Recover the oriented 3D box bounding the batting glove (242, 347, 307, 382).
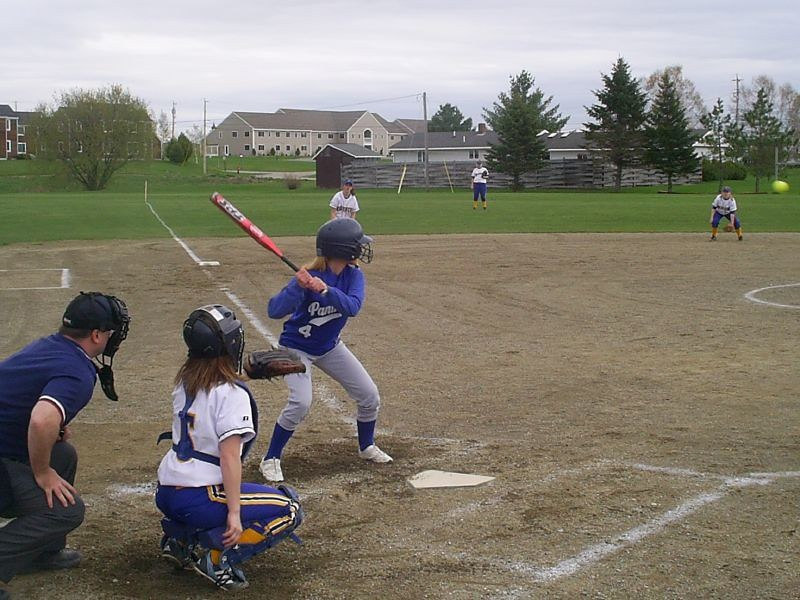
[{"bbox_3d":[-0.928,0.475,7.301,0.329,0.136,0.257,-3,7,-22],"label":"batting glove"}]

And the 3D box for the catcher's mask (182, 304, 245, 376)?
[{"bbox_3d":[-1.127,0.233,6.717,0.376,0.427,0.477,10,12,27],"label":"catcher's mask"}]

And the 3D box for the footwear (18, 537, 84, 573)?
[{"bbox_3d":[-2.379,1.706,6.894,0.464,0.279,0.145,-5,11,-16],"label":"footwear"}]

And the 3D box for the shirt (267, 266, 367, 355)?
[{"bbox_3d":[-0.691,0.118,8.505,0.771,0.801,0.582,15,26,-18],"label":"shirt"}]

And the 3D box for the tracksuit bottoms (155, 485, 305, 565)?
[{"bbox_3d":[-1.145,1.469,6.757,0.761,0.408,0.649,-7,0,-32],"label":"tracksuit bottoms"}]

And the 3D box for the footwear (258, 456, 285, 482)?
[{"bbox_3d":[-1.012,1.323,7.900,0.239,0.099,0.119,18,15,42],"label":"footwear"}]

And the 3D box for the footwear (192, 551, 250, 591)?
[{"bbox_3d":[-1.180,1.773,6.594,0.386,0.172,0.190,29,10,-1],"label":"footwear"}]

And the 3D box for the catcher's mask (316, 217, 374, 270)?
[{"bbox_3d":[-0.441,-0.465,7.969,0.500,0.332,0.333,-2,19,-11],"label":"catcher's mask"}]

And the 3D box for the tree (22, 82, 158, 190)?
[{"bbox_3d":[-16.975,-8.916,57.718,5.728,5.388,5.527,7,-1,23],"label":"tree"}]

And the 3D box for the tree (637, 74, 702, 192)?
[{"bbox_3d":[13.429,-8.526,50.242,2.484,5.558,3.651,2,10,5],"label":"tree"}]

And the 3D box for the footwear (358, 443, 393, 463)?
[{"bbox_3d":[-0.206,1.239,8.248,0.265,0.106,0.121,6,12,21],"label":"footwear"}]

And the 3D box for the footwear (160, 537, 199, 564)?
[{"bbox_3d":[-1.483,1.673,6.765,0.253,0.110,0.093,40,-29,-15],"label":"footwear"}]
